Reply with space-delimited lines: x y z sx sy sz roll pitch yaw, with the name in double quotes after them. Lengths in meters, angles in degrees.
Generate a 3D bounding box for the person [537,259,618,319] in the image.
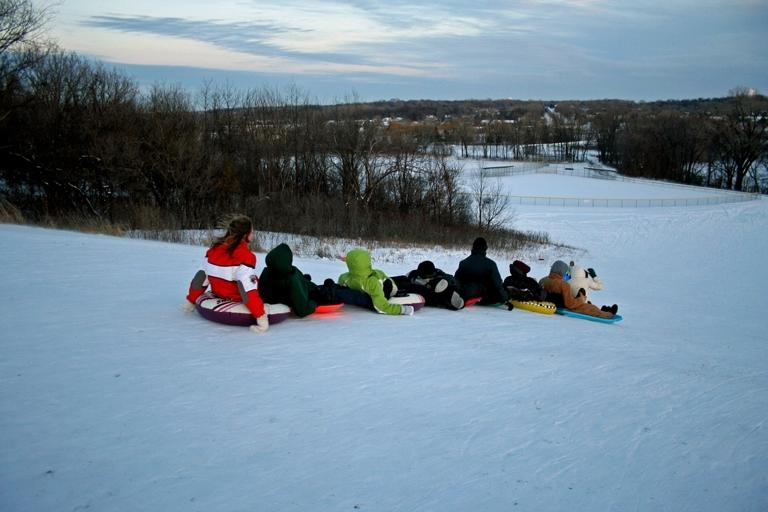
4.437 0.867 14.199 1.996 1.194 0.869 10 -1 -24 "person"

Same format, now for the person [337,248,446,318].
0.074 0.498 12.512 1.074 0.824 1.533 16 17 39 "person"

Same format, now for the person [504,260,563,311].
3.402 0.752 14.117 1.446 0.852 1.046 19 -5 -2 "person"

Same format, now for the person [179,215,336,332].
-2.674 0.256 10.972 1.533 1.954 0.617 11 9 31 "person"

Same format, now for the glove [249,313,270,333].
-2.143 1.192 10.858 0.336 0.361 0.231 2 11 -1 "glove"
